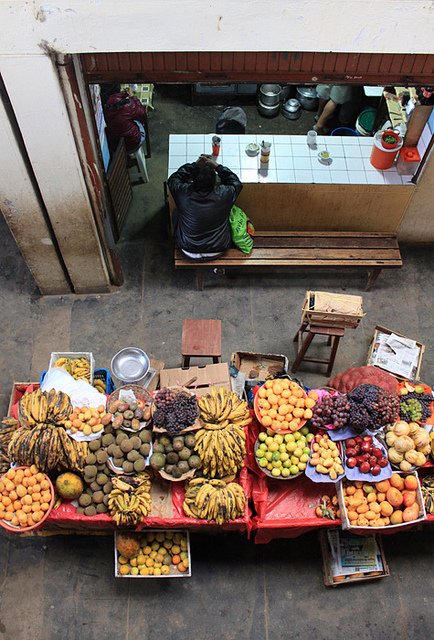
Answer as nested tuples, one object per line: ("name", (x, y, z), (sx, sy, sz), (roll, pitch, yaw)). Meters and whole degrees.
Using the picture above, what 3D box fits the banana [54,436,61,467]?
("banana", (-1.186, 0.991, 3.266), (0.038, 0.112, 0.150), (6, 93, -7))

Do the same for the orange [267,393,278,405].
("orange", (0.463, 0.659, 3.652), (0.068, 0.078, 0.074), (27, 67, 41))

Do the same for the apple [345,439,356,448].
("apple", (1.044, 0.978, 3.430), (0.059, 0.075, 0.063), (3, 50, 1))

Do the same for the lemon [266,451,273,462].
("lemon", (0.400, 1.091, 3.458), (0.054, 0.068, 0.057), (-1, 28, -4))

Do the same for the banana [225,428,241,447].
("banana", (0.136, 0.903, 3.381), (0.049, 0.059, 0.183), (-33, 90, -15))

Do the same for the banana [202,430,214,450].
("banana", (-0.075, 0.905, 3.294), (0.053, 0.042, 0.162), (41, 54, -21))

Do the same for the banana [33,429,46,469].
("banana", (-1.316, 0.960, 3.263), (0.087, 0.074, 0.281), (10, 86, -9))

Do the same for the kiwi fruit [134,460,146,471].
("kiwi fruit", (-0.589, 1.118, 3.334), (0.084, 0.056, 0.071), (1, 54, -3))

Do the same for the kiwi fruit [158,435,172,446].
("kiwi fruit", (-0.397, 0.920, 3.326), (0.076, 0.075, 0.076), (0, 100, -4))

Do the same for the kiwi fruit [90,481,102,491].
("kiwi fruit", (-0.940, 1.299, 3.397), (0.070, 0.038, 0.071), (33, 76, 4))

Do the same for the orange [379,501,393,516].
("orange", (1.283, 1.442, 3.317), (0.100, 0.077, 0.081), (14, 61, -11))

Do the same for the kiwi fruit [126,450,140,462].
("kiwi fruit", (-0.640, 1.041, 3.336), (0.088, 0.055, 0.071), (-5, 54, -7))

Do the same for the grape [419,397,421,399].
("grape", (1.740, 0.680, 3.761), (0.013, 0.004, 0.013), (0, 82, 2))

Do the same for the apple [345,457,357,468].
("apple", (1.029, 1.097, 3.334), (0.069, 0.040, 0.075), (-2, 82, 5))

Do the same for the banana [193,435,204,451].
("banana", (-0.138, 0.935, 3.296), (0.032, 0.039, 0.147), (26, 35, -1))

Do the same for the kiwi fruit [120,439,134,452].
("kiwi fruit", (-0.688, 0.962, 3.333), (0.082, 0.079, 0.085), (0, 96, 7))

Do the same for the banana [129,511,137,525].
("banana", (-0.633, 1.499, 3.291), (0.052, 0.117, 0.029), (-8, 13, -3))

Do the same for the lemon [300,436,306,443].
("lemon", (0.684, 0.962, 3.491), (0.031, 0.032, 0.039), (-22, 37, -2))

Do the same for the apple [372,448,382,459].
("apple", (1.225, 1.036, 3.359), (0.064, 0.046, 0.049), (51, 26, -10))

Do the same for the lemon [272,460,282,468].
("lemon", (0.468, 1.135, 3.407), (0.062, 0.061, 0.064), (-2, 97, 0))

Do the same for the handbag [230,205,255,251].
("handbag", (0.310, -1.149, 5.465), (0.137, 0.480, 0.430), (-10, 33, 17))

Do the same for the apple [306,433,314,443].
("apple", (0.750, 0.964, 3.559), (0.059, 0.056, 0.062), (33, 58, 4))

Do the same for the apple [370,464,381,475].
("apple", (1.209, 1.141, 3.324), (0.096, 0.048, 0.071), (-5, 55, -7))

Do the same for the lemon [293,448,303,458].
("lemon", (0.629, 1.041, 3.404), (0.055, 0.067, 0.056), (20, 20, 42))

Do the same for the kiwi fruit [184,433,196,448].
("kiwi fruit", (-0.194, 0.919, 3.299), (0.064, 0.067, 0.091), (2, 51, -8))

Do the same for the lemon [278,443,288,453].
("lemon", (0.519, 1.011, 3.427), (0.051, 0.065, 0.054), (2, 25, 1))

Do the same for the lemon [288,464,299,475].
("lemon", (0.596, 1.171, 3.404), (0.062, 0.062, 0.068), (0, 101, 0))

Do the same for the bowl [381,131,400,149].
("bowl", (2.112, -2.220, 5.362), (0.214, 0.052, 0.339), (18, 56, 9))

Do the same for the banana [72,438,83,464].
("banana", (-1.067, 1.021, 3.342), (0.035, 0.081, 0.146), (-4, 83, -28))

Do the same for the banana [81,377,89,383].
("banana", (-1.256, 0.582, 4.201), (0.048, 0.049, 0.014), (35, 95, -27))

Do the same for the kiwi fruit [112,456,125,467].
("kiwi fruit", (-0.762, 1.100, 3.369), (0.068, 0.049, 0.089), (-23, 88, -6))

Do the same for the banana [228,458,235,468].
("banana", (0.110, 1.099, 3.328), (0.026, 0.029, 0.093), (-13, 99, -19))

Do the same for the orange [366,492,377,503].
("orange", (1.187, 1.379, 3.364), (0.069, 0.086, 0.070), (-6, 52, -2))

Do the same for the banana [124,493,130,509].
("banana", (-0.671, 1.357, 3.243), (0.026, 0.022, 0.093), (-11, 92, -16))

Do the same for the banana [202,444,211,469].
("banana", (-0.084, 1.031, 3.288), (0.054, 0.174, 0.038), (1, 10, -30))

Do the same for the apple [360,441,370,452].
("apple", (1.142, 0.988, 3.375), (0.063, 0.068, 0.070), (2, 61, -14))

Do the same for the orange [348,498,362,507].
("orange", (1.055, 1.402, 3.343), (0.080, 0.056, 0.046), (-4, 24, 4))

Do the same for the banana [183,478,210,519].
("banana", (-0.116, 1.388, 3.375), (0.097, 0.192, 0.221), (44, 101, 7))

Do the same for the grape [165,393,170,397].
("grape", (-0.388, 0.592, 3.393), (0.038, 0.029, 0.038), (6, 54, 1))

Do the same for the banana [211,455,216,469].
("banana", (-0.034, 1.076, 3.280), (0.030, 0.030, 0.107), (0, 91, 2))

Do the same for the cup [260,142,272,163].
("cup", (0.591, -2.069, 5.434), (0.115, 0.262, 0.135), (4, 53, 0))

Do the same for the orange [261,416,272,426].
("orange", (0.394, 0.815, 3.510), (0.081, 0.034, 0.078), (5, 54, 0))

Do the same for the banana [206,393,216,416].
("banana", (-0.052, 0.656, 3.394), (0.052, 0.043, 0.160), (33, 16, -24))

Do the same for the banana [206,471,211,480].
("banana", (-0.066, 1.218, 3.401), (0.020, 0.064, 0.048), (3, 15, -2))

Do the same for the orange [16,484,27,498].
("orange", (-1.448, 1.276, 3.232), (0.060, 0.079, 0.065), (5, 82, -37))

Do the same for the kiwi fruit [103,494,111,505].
("kiwi fruit", (-0.851, 1.391, 3.355), (0.030, 0.061, 0.064), (8, 92, -37))

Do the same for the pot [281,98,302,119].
("pot", (1.329, -3.785, 7.796), (0.328, 0.203, 0.330), (-1, 74, 4))

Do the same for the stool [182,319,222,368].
("stool", (-0.170, 0.286, 4.917), (0.437, 0.437, 0.469), (1, 71, -3))

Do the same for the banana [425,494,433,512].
("banana", (1.692, 1.480, 3.493), (0.054, 0.141, 0.038), (28, 40, 30))

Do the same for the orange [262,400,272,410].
("orange", (0.408, 0.709, 3.609), (0.050, 0.053, 0.070), (-1, 11, 4))

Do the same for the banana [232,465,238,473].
("banana", (0.139, 1.182, 3.425), (0.037, 0.064, 0.014), (1, 9, -36))

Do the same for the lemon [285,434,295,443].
("lemon", (0.568, 0.939, 3.453), (0.059, 0.061, 0.070), (-9, 24, -36))

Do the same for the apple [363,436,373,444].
("apple", (1.184, 0.951, 3.420), (0.051, 0.049, 0.048), (28, 79, 14))

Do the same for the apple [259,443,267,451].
("apple", (0.368, 1.025, 3.498), (0.043, 0.054, 0.045), (-12, 28, 5))

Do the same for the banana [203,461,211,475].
("banana", (-0.091, 1.149, 3.361), (0.021, 0.083, 0.050), (39, 15, 32))

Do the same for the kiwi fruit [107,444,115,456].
("kiwi fruit", (-0.816, 1.015, 3.381), (0.030, 0.056, 0.059), (8, 76, -23))

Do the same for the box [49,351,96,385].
("box", (-1.531, 0.449, 4.722), (0.418, 0.266, 0.433), (0, 64, -6))

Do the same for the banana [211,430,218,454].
("banana", (-0.016, 0.914, 3.260), (0.045, 0.034, 0.149), (21, 52, -23))

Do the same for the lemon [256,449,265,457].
("lemon", (0.345, 1.056, 3.497), (0.053, 0.055, 0.051), (-27, 32, -29))
